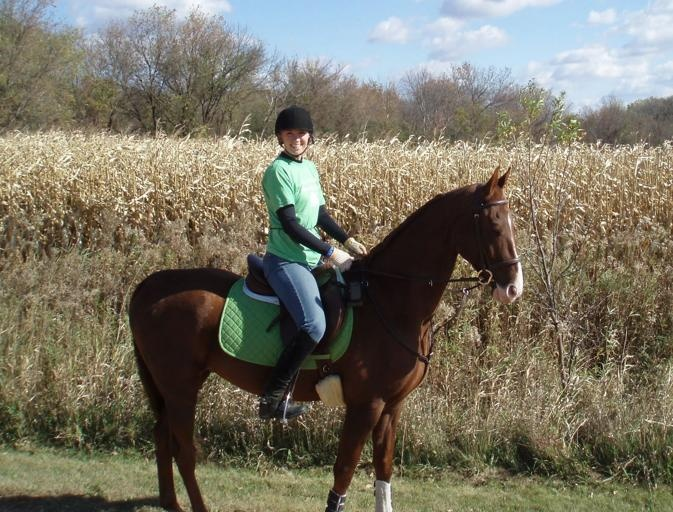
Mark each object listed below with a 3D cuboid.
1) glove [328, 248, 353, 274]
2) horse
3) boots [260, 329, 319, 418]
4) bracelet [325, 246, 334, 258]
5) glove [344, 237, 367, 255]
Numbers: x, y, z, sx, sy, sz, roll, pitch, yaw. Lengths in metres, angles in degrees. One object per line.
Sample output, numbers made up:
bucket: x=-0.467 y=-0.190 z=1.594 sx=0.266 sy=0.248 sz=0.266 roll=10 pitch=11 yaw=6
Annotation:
glove: x=0.043 y=0.035 z=6.813 sx=0.260 sy=0.228 sz=0.264 roll=5 pitch=-3 yaw=0
horse: x=-0.092 y=1.162 z=7.764 sx=3.408 sy=3.614 sz=1.296 roll=1 pitch=-3 yaw=7
boots: x=-0.502 y=1.172 z=6.694 sx=0.440 sy=1.084 sz=0.258 roll=7 pitch=30 yaw=1
bracelet: x=-0.072 y=-0.042 z=6.727 sx=0.067 sy=0.093 sz=0.091 roll=47 pitch=-19 yaw=-4
glove: x=0.203 y=-0.108 z=7.151 sx=0.243 sy=0.152 sz=0.108 roll=39 pitch=-2 yaw=12
